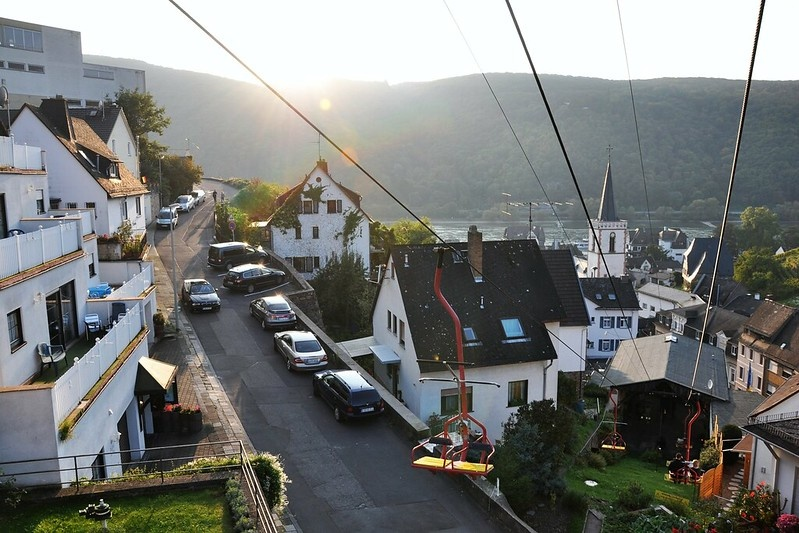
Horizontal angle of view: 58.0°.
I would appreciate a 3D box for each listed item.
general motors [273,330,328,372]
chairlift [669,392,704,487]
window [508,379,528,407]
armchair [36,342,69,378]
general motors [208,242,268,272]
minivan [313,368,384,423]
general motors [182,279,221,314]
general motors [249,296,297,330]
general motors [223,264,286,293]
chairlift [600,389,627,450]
[{"bbox_3d":[-6.508,5.497,46.754,3.440,2.366,1.869,1,9,42],"label":"general motors"},{"bbox_3d":[16.516,10.052,41.137,1.661,4.414,1.531,10,-11,-5],"label":"chairlift"},{"bbox_3d":[7.922,8.442,48.301,1.549,1.517,0.544,7,-11,-32],"label":"window"},{"bbox_3d":[-17.347,4.444,35.615,1.313,1.827,1.456,5,16,3],"label":"armchair"},{"bbox_3d":[-14.415,-1.026,64.318,4.735,1.801,2.376,-10,14,-37],"label":"general motors"},{"bbox_3d":[-3.014,7.632,42.263,3.689,2.420,1.741,1,9,40],"label":"minivan"},{"bbox_3d":[-14.907,2.275,53.943,2.015,2.276,3.361,-10,9,-38],"label":"general motors"},{"bbox_3d":[-9.412,3.164,53.108,2.428,1.921,5.653,-2,14,-26],"label":"general motors"},{"bbox_3d":[-11.864,1.055,59.229,2.083,1.536,4.640,14,18,43],"label":"general motors"},{"bbox_3d":[13.880,9.740,46.169,2.467,3.844,0.312,5,-2,-6],"label":"chairlift"}]
